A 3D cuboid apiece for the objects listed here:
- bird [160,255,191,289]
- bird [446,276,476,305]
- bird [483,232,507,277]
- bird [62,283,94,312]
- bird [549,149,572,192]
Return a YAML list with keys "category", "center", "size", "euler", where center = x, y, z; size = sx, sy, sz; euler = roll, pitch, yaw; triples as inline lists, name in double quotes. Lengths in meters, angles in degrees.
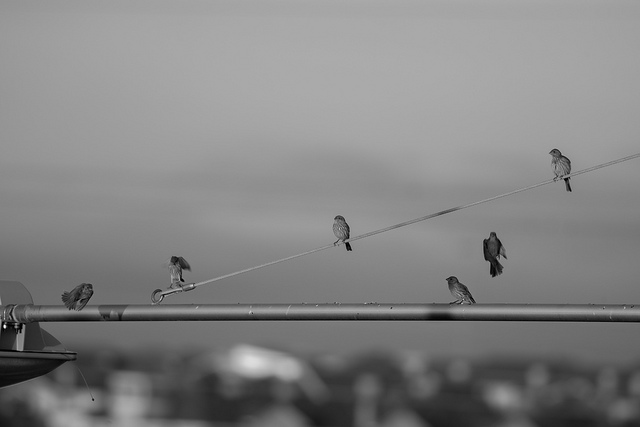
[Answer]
- category: "bird"
  center: [-0.934, 0.399, 6.576]
  size: [0.215, 0.218, 0.109]
  euler: [3, 2, 19]
- category: "bird"
  center: [0.945, 0.507, 6.313]
  size: [0.213, 0.199, 0.113]
  euler: [1, 2, 1]
- category: "bird"
  center: [1.164, 0.263, 6.372]
  size: [0.166, 0.279, 0.176]
  euler: [-13, -48, 19]
- category: "bird"
  center: [-1.589, 0.566, 6.542]
  size: [0.166, 0.184, 0.071]
  euler: [45, -12, 1]
- category: "bird"
  center: [1.565, -0.283, 6.268]
  size: [0.147, 0.284, 0.140]
  euler: [-2, 4, -13]
